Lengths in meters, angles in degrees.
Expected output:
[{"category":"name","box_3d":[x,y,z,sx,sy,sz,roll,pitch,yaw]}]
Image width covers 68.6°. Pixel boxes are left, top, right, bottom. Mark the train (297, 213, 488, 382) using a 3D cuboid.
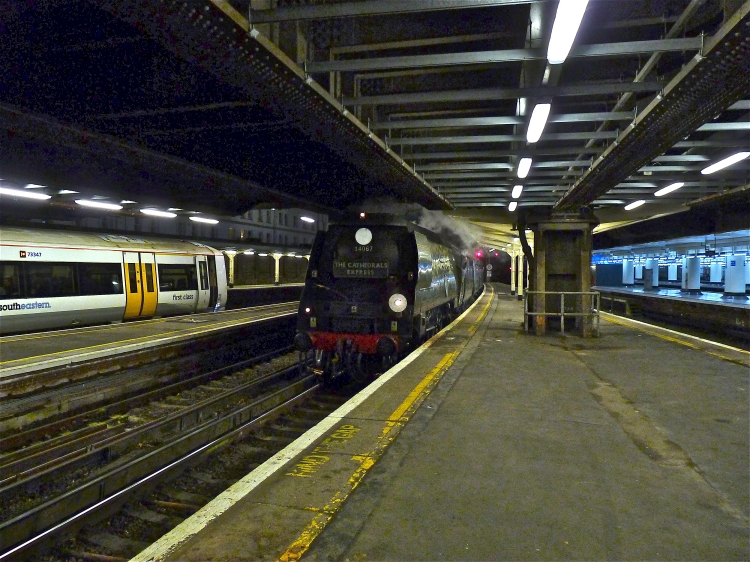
[{"category":"train","box_3d":[0.383,0.360,14.192,2.519,4.115,5.630,-1,6,18]}]
